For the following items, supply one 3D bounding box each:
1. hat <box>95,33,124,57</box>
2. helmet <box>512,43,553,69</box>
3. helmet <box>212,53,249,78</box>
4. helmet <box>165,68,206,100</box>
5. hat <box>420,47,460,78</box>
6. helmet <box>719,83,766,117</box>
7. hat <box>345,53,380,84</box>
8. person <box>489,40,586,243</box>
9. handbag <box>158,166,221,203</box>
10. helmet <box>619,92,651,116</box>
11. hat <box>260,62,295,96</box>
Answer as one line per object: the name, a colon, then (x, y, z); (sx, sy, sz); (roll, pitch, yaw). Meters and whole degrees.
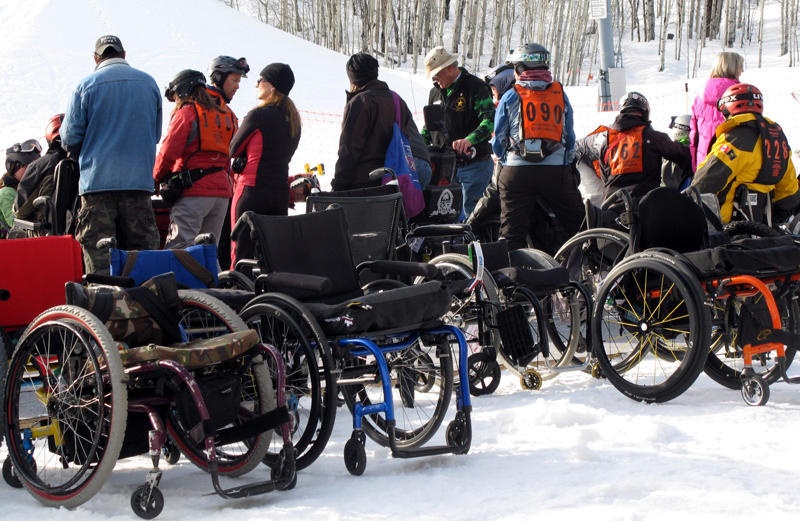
hat: (-2.674, -1.997, 6.718); (0.219, 0.176, 0.323); (-3, -6, -12)
helmet: (1.246, -1.937, 6.895); (0.296, 0.254, 0.232); (-4, 9, 9)
helmet: (-1.691, -1.962, 7.226); (0.312, 0.165, 0.229); (-2, 5, -13)
helmet: (-2.024, -1.667, 6.968); (0.349, 0.290, 0.290); (4, 4, 29)
hat: (0.473, -2.418, 8.698); (0.376, 0.216, 0.413); (-38, 13, 31)
helmet: (3.066, -1.439, 6.570); (0.274, 0.349, 0.346); (2, 6, -9)
hat: (-0.376, -1.891, 7.087); (0.265, 0.275, 0.308); (-12, 20, -23)
person: (1.361, -0.954, 7.130); (0.859, 2.361, 0.746); (-6, 26, -3)
handbag: (-2.036, -0.716, 6.924); (0.407, 0.179, 0.305); (-25, 12, -7)
helmet: (2.193, -1.488, 6.933); (0.258, 0.248, 0.217); (-1, 7, -27)
hat: (-1.120, -1.766, 6.902); (0.294, 0.275, 0.296); (37, 27, 17)
